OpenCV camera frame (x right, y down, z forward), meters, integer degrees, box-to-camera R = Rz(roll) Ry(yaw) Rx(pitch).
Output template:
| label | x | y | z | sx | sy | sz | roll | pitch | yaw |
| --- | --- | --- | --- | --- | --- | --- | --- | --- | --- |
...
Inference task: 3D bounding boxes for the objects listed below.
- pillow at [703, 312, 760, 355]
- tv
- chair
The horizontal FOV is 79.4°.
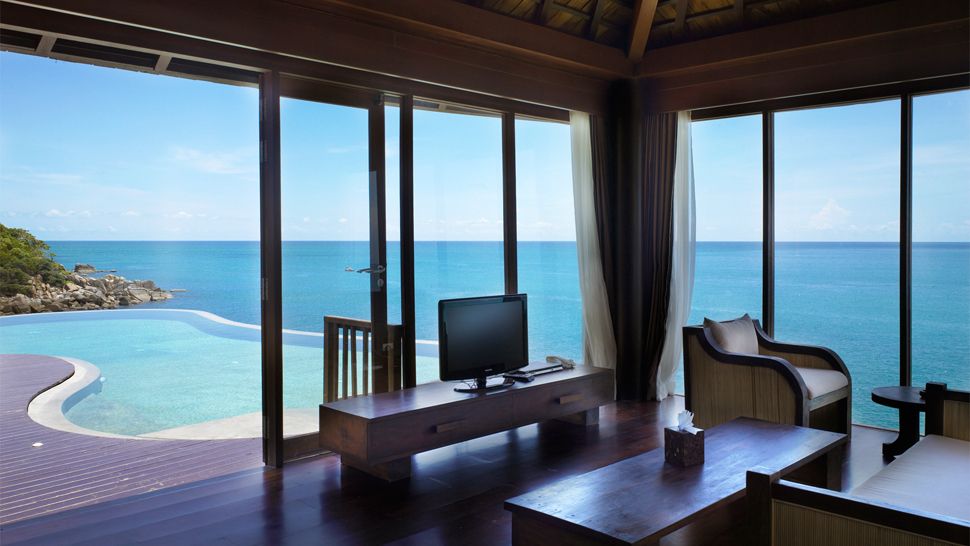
| label | x | y | z | sx | sy | sz | roll | pitch | yaw |
| --- | --- | --- | --- | --- | --- | --- | --- | --- | --- |
| pillow | 2.893 | 0.762 | 6.714 | 0.786 | 0.531 | 0.270 | -5 | 0 | -35 |
| tv | -0.049 | 0.767 | 6.257 | 1.179 | 0.833 | 0.265 | -5 | 7 | -31 |
| chair | 3.239 | 0.996 | 6.905 | 1.698 | 1.491 | 1.659 | -3 | -4 | 37 |
